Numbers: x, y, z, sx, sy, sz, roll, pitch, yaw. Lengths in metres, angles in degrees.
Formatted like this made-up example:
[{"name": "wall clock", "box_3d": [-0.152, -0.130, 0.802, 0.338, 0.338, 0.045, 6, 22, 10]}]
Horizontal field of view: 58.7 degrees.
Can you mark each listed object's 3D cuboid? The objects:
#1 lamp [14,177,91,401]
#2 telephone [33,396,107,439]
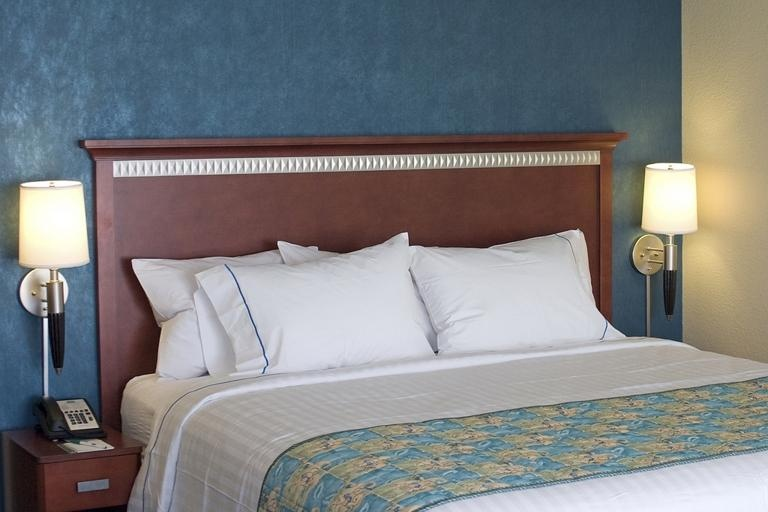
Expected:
[{"name": "lamp", "box_3d": [-1.627, 0.165, 3.397, 0.309, 1.080, 0.309, -6, 10, -27]}, {"name": "telephone", "box_3d": [-1.527, 0.778, 3.322, 0.350, 0.108, 0.268, 16, 7, 42]}]
